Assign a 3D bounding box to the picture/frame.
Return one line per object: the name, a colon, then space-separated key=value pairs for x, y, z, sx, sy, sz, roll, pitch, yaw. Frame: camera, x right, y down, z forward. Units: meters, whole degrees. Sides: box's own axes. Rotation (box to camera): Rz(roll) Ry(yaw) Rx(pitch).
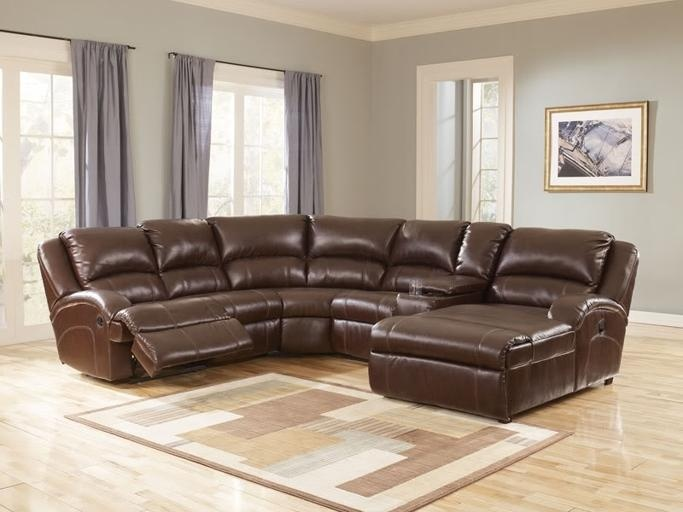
picture/frame: x=2.876 y=-1.208 z=6.250 sx=1.233 sy=0.915 sz=0.063 roll=1 pitch=1 yaw=38
